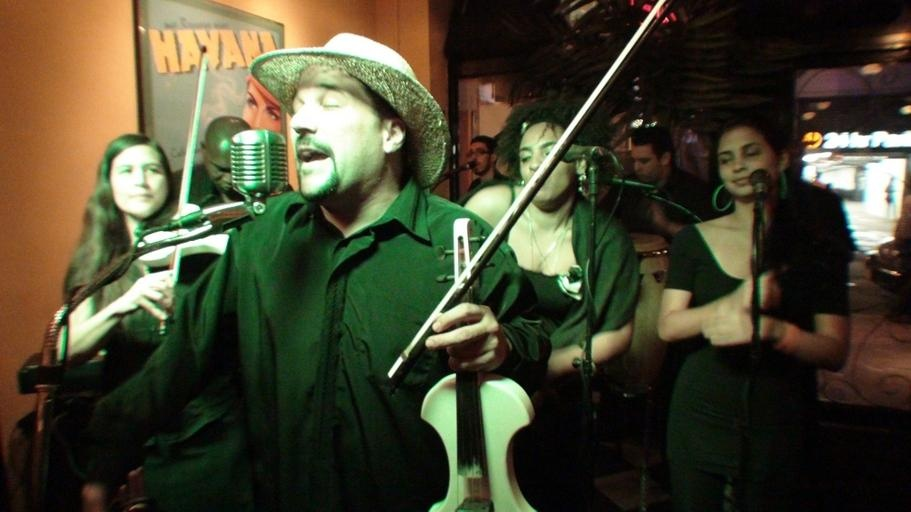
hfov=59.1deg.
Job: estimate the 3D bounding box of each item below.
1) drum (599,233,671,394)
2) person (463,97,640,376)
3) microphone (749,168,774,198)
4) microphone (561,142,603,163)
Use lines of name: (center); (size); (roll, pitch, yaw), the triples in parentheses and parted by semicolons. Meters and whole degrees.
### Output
drum: (0.930, 0.289, 3.944); (0.416, 0.700, 0.219); (8, 3, 41)
person: (0.581, -0.124, 4.219); (0.961, 1.291, 0.493); (5, 6, 8)
microphone: (1.378, -0.321, 3.632); (0.099, 0.138, 0.193); (2, 11, 27)
microphone: (0.597, -0.476, 3.793); (0.150, 0.038, 0.104); (4, -2, -6)
